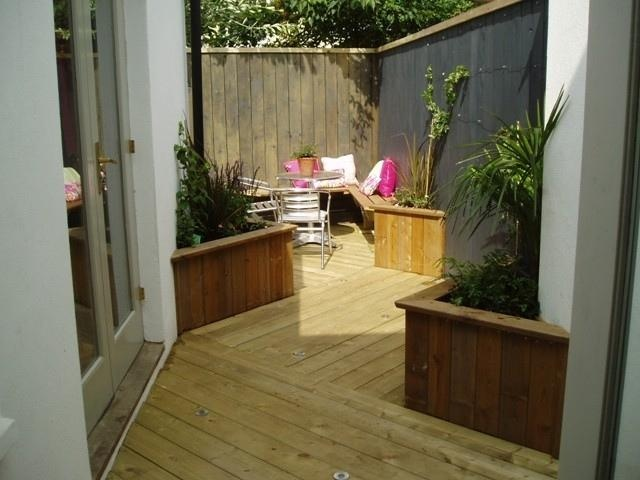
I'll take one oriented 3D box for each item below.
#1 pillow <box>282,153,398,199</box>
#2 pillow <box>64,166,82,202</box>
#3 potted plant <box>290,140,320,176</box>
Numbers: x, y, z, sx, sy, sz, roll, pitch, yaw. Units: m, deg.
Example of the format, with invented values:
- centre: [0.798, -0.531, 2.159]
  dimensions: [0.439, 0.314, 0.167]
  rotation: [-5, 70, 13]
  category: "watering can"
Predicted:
- centre: [0.484, -0.927, 7.627]
  dimensions: [0.857, 0.343, 1.065]
  rotation: [-7, 21, -10]
  category: "pillow"
- centre: [-1.255, -0.280, 2.694]
  dimensions: [0.045, 0.180, 0.256]
  rotation: [-4, 14, -16]
  category: "pillow"
- centre: [-0.143, -1.039, 7.039]
  dimensions: [0.416, 0.379, 0.310]
  rotation: [-12, 17, -40]
  category: "potted plant"
